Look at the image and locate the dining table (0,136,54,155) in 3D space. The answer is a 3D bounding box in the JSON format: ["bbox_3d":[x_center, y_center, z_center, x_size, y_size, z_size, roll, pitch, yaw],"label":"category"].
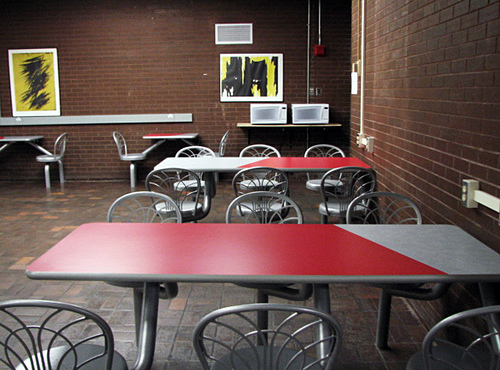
[{"bbox_3d":[-4.632,-0.814,7.522,0.839,0.413,0.954,-11,18,-31],"label":"dining table"}]

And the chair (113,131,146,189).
[{"bbox_3d":[-2.429,-0.560,7.467,0.542,1.022,1.156,-7,17,-20],"label":"chair"}]

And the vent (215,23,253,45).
[{"bbox_3d":[-0.324,-3.070,7.451,0.746,0.404,0.090,-1,16,0],"label":"vent"}]

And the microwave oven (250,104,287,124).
[{"bbox_3d":[0.375,-1.392,7.212,0.585,0.352,0.404,-1,10,-2],"label":"microwave oven"}]

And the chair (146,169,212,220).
[{"bbox_3d":[-0.786,0.109,4.206,0.573,0.889,0.640,2,21,-1],"label":"chair"}]
